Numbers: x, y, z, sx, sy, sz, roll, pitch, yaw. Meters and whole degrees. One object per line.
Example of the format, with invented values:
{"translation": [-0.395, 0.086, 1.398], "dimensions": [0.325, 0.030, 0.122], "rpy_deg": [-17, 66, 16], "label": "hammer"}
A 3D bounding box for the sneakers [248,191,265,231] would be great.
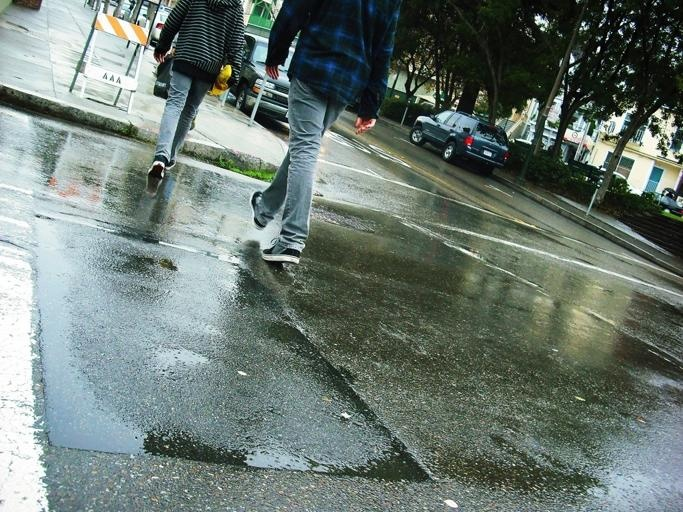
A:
{"translation": [-0.820, -0.430, 5.414], "dimensions": [0.134, 0.378, 0.142], "rpy_deg": [11, -25, -33], "label": "sneakers"}

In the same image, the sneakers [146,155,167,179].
{"translation": [-2.106, -0.998, 6.247], "dimensions": [0.137, 0.167, 0.378], "rpy_deg": [13, -16, -3], "label": "sneakers"}

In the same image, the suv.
{"translation": [5.431, -5.554, 26.416], "dimensions": [2.493, 2.097, 4.954], "rpy_deg": [7, 24, -32], "label": "suv"}
